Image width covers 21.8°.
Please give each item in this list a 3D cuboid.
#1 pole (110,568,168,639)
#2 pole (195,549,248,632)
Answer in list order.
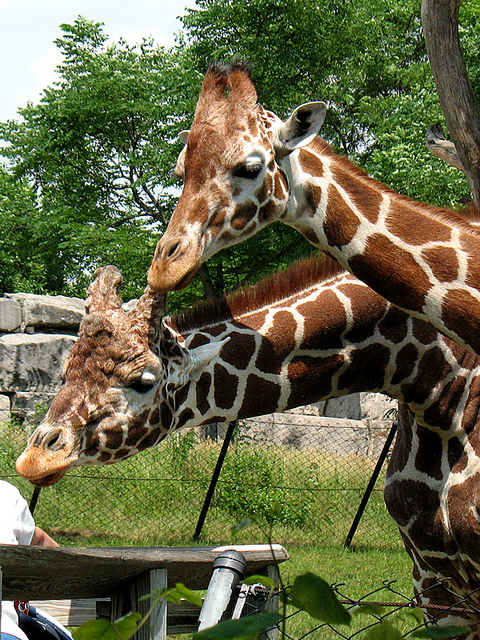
[{"bbox_3d":[-0.539,1.584,7.014,0.234,0.344,0.614,-2,1,-23],"label":"pole"},{"bbox_3d":[-0.103,1.431,6.643,0.268,0.348,0.329,-2,1,-1],"label":"pole"}]
